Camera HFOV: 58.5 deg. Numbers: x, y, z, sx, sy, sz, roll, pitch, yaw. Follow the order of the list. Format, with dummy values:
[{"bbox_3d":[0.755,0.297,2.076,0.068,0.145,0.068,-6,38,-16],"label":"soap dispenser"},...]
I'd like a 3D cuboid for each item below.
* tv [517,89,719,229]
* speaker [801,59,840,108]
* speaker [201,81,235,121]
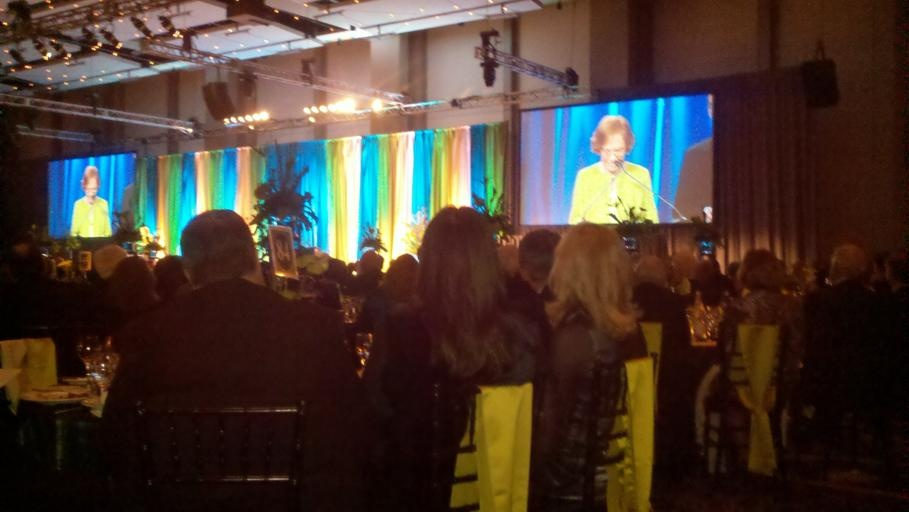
[{"bbox_3d":[3.073,-1.759,14.745,3.072,1.782,0.041,0,-2,26],"label":"tv"},{"bbox_3d":[3.463,-1.659,7.782,0.264,0.643,0.944,-3,-4,23],"label":"speaker"},{"bbox_3d":[-4.901,-3.273,16.976,0.644,0.742,0.546,-1,-4,5],"label":"speaker"}]
